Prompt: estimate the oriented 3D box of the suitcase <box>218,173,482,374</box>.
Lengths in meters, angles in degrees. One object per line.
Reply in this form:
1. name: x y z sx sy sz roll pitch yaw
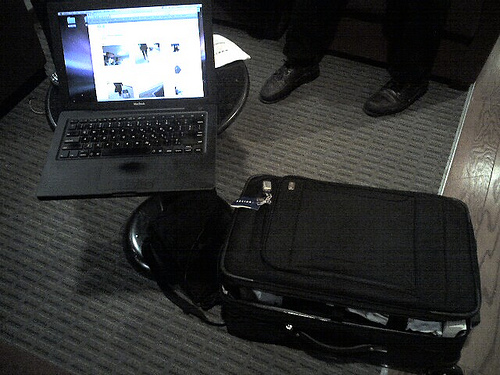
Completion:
1. suitcase: 0.322 0.364 1.838 0.913 0.405 0.606 7 55 7
